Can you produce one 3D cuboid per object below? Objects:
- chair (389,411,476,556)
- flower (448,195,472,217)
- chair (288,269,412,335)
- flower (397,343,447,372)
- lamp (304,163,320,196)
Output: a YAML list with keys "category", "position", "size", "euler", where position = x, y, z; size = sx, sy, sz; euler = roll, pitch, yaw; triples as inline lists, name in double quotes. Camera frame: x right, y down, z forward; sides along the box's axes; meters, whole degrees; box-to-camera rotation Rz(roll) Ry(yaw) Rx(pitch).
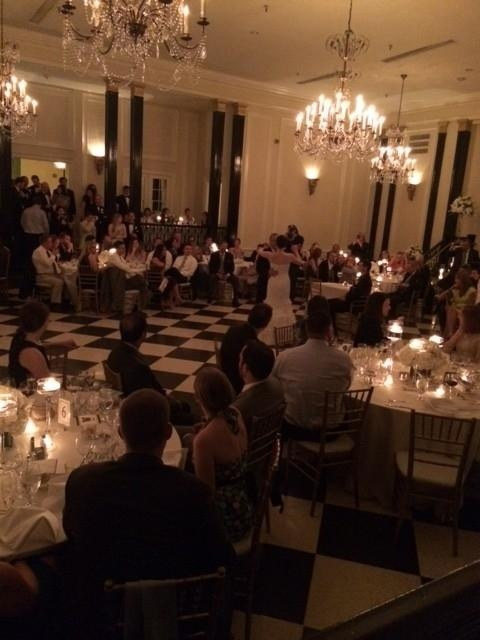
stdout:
- category: "chair"
  position: [1.144, 0.825, 2.872]
  size: [0.441, 0.786, 0.655]
  euler: [7, 12, 20]
- category: "flower"
  position: [5.236, -2.643, 11.571]
  size: [0.467, 0.551, 0.303]
  euler: [12, -2, 21]
- category: "chair"
  position: [1.727, -0.378, 7.886]
  size: [1.145, 0.673, 1.680]
  euler: [6, 18, 22]
- category: "flower"
  position: [1.340, 0.284, 3.630]
  size: [0.205, 0.141, 0.269]
  euler: [2, -6, 36]
- category: "lamp"
  position: [1.779, -3.822, 13.437]
  size: [0.601, 0.805, 0.638]
  euler: [-2, 8, -17]
